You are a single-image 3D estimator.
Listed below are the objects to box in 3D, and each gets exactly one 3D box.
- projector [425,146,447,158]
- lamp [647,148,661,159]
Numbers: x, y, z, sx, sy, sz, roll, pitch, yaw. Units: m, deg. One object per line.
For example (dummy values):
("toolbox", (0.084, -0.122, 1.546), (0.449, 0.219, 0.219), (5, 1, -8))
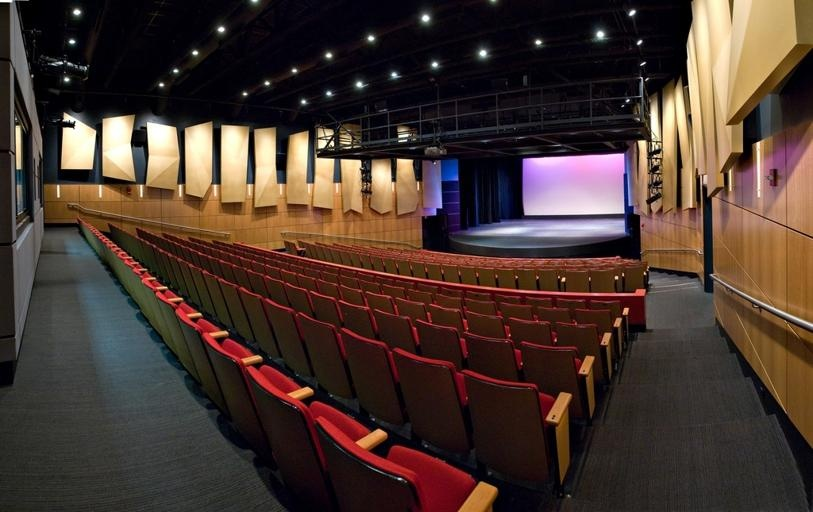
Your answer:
("projector", (0.723, -2.591, 12.114), (0.481, 0.176, 0.513), (4, 17, 15))
("lamp", (6.223, -2.536, 12.175), (0.252, 0.291, 0.205), (4, 13, 29))
